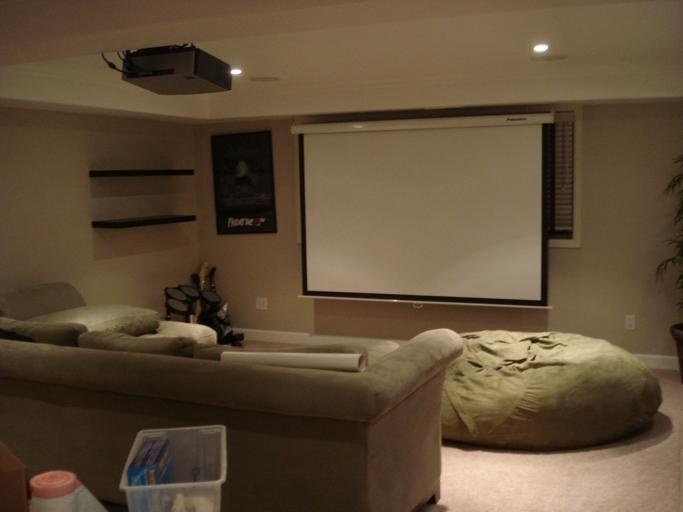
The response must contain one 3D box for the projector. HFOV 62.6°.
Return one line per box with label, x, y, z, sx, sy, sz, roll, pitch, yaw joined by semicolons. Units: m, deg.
projector;-1.072;-1.185;3.608;0.617;0.200;0.439;-2;2;7
